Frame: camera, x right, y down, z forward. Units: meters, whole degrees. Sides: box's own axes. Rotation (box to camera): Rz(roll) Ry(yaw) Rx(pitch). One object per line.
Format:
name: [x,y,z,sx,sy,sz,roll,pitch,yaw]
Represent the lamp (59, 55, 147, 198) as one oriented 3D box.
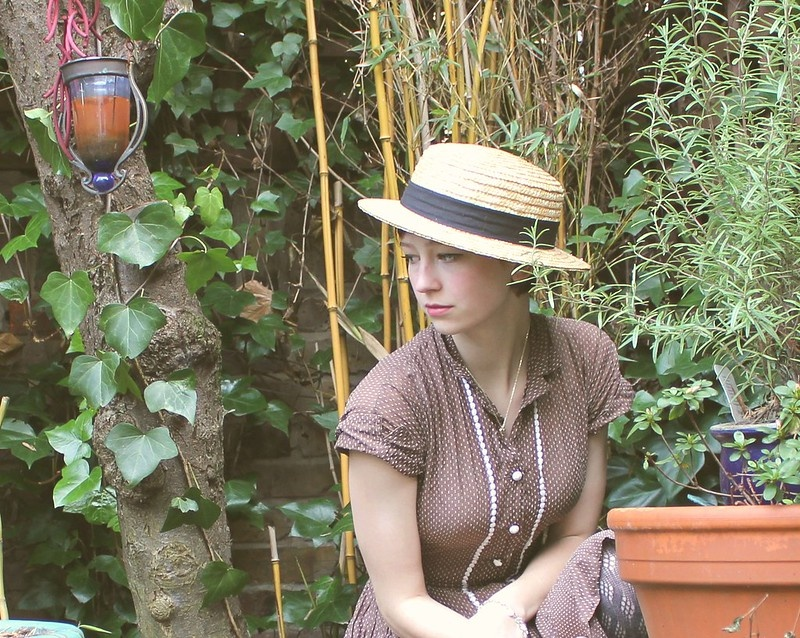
lamp: [-0.635,-0.406,2.266,0.193,0.290,0.131,2,18,5]
